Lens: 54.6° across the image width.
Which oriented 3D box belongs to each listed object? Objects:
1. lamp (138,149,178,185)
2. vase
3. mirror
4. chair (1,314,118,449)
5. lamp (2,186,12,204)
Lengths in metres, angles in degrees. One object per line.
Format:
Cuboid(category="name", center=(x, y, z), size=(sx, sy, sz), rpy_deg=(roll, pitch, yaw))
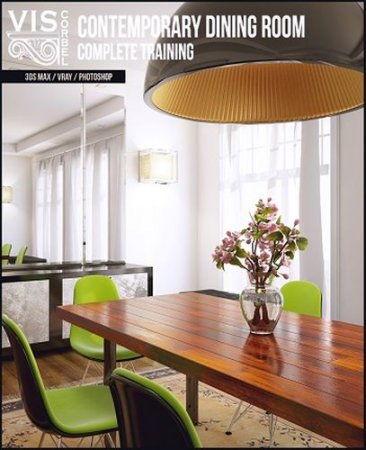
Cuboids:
Cuboid(category="lamp", center=(-0.327, -0.775, 4.705), size=(0.443, 0.426, 0.260), rpy_deg=(-2, 5, -33))
Cuboid(category="vase", center=(0.341, 0.338, 1.528), size=(0.177, 0.236, 0.188), rpy_deg=(-3, -11, 22))
Cuboid(category="mirror", center=(-1.288, -0.818, 3.985), size=(0.316, 2.481, 1.434), rpy_deg=(-2, -5, 42))
Cuboid(category="chair", center=(-0.471, 0.539, 1.381), size=(0.397, 0.429, 0.463), rpy_deg=(2, -4, -18))
Cuboid(category="lamp", center=(-1.705, -0.297, 3.446), size=(0.083, 0.178, 0.099), rpy_deg=(3, -4, -27))
